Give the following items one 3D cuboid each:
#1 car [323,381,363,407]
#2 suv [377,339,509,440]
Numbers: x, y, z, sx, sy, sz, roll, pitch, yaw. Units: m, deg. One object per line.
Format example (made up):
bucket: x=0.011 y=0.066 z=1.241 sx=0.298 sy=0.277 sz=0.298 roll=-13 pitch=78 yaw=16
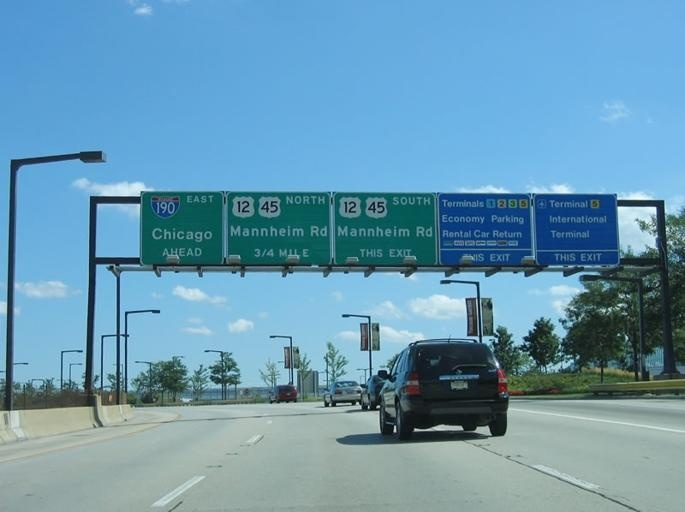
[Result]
car: x=0.033 y=7.472 z=54.367 sx=1.834 sy=1.347 sz=3.342 roll=-1 pitch=-4 yaw=-3
suv: x=2.611 y=3.436 z=27.316 sx=2.506 sy=2.493 sz=4.541 roll=0 pitch=-6 yaw=-4
